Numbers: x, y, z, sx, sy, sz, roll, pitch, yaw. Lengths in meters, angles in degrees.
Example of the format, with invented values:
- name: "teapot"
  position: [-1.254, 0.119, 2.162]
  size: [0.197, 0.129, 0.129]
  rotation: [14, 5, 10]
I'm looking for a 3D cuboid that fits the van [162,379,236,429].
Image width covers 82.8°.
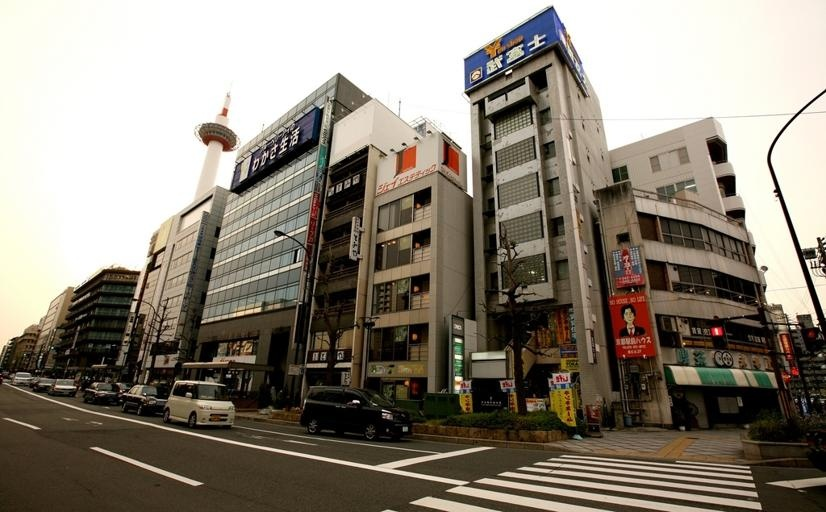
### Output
- name: "van"
  position: [-14.243, 9.619, 31.486]
  size: [5.203, 2.352, 2.968]
  rotation: [-10, -19, 39]
